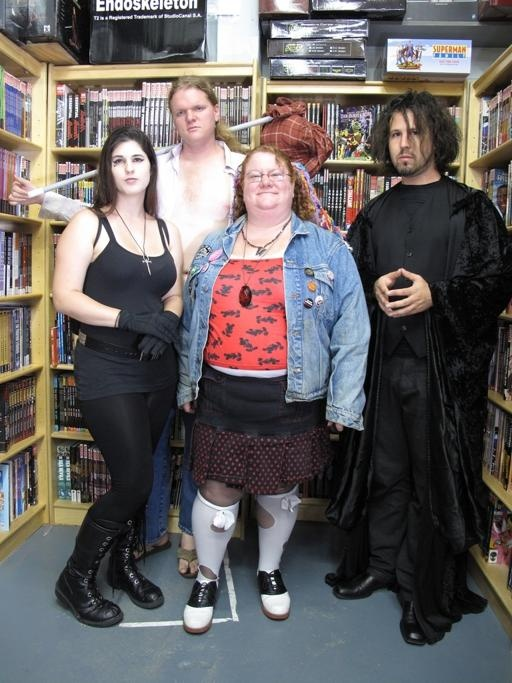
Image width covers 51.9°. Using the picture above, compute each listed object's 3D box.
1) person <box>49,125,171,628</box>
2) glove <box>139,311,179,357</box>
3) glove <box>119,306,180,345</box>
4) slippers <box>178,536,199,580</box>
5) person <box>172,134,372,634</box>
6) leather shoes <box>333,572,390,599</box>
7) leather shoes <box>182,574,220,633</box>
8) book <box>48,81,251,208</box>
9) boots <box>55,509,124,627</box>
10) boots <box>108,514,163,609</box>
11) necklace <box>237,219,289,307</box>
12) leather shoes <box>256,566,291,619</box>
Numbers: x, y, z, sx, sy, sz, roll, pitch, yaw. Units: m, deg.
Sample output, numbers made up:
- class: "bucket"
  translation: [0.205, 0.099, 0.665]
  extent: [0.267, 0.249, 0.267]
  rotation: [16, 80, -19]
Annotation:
- class: "person"
  translation: [-0.428, 0.120, 1.684]
  extent: [0.409, 1.579, 0.298]
  rotation: [0, 4, -20]
- class: "glove"
  translation: [-0.295, -0.010, 1.609]
  extent: [0.101, 0.149, 0.050]
  rotation: [25, 18, -16]
- class: "glove"
  translation: [-0.319, -0.052, 1.593]
  extent: [0.152, 0.043, 0.090]
  rotation: [8, 23, -17]
- class: "slippers"
  translation: [-0.273, 0.838, 2.031]
  extent: [0.062, 0.040, 0.162]
  rotation: [-1, 8, -6]
- class: "person"
  translation: [0.029, 0.159, 1.677]
  extent: [0.626, 1.517, 0.331]
  rotation: [2, 4, 7]
- class: "leather shoes"
  translation: [0.375, 0.884, 1.941]
  extent: [0.244, 0.089, 0.078]
  rotation: [-6, 33, -5]
- class: "leather shoes"
  translation: [-0.182, 0.837, 1.700]
  extent: [0.067, 0.065, 0.191]
  rotation: [4, 10, 3]
- class: "book"
  translation: [-0.401, -0.790, 2.060]
  extent: [0.857, 0.724, 0.270]
  rotation: [-1, -1, 0]
- class: "boots"
  translation: [-0.522, 0.729, 1.705]
  extent: [0.250, 0.313, 0.134]
  rotation: [15, 11, 28]
- class: "boots"
  translation: [-0.420, 0.780, 1.852]
  extent: [0.262, 0.242, 0.106]
  rotation: [17, 14, 35]
- class: "necklace"
  translation: [0.007, -0.247, 1.571]
  extent: [0.111, 0.015, 0.315]
  rotation: [5, 51, 15]
- class: "leather shoes"
  translation: [0.064, 0.847, 1.790]
  extent: [0.066, 0.066, 0.174]
  rotation: [-2, 11, -7]
